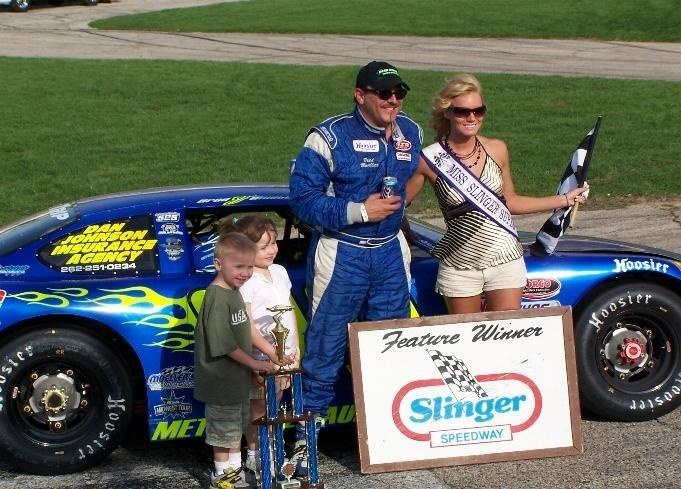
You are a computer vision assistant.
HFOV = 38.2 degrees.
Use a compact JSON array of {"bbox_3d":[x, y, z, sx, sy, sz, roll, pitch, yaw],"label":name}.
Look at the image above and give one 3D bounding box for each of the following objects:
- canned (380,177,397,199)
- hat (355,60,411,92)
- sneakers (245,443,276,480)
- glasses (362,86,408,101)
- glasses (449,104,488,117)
[{"bbox_3d":[0.357,-0.422,7.046,0.103,0.136,0.208,0,28,2],"label":"canned"},{"bbox_3d":[0.292,-1.238,7.232,0.358,0.205,0.368,-8,28,-15],"label":"hat"},{"bbox_3d":[-0.535,1.603,7.187,0.151,0.174,0.424,5,-16,-29],"label":"sneakers"},{"bbox_3d":[0.361,-1.102,7.170,0.323,0.107,0.118,-10,30,-19],"label":"glasses"},{"bbox_3d":[0.961,-1.008,7.410,0.277,0.086,0.113,-1,28,-1],"label":"glasses"}]
